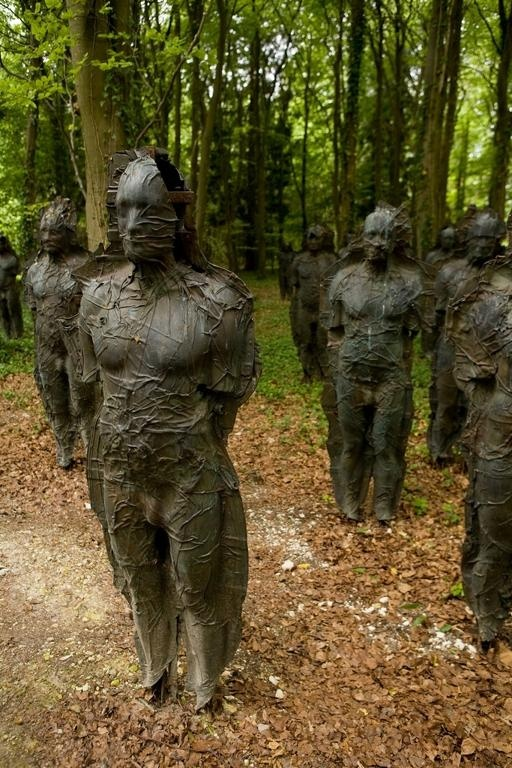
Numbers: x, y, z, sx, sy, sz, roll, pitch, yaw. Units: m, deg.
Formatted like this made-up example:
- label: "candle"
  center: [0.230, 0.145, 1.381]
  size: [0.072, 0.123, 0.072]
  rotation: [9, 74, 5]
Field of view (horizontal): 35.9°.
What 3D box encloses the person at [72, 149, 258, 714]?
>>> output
- label: "person"
  center: [-0.437, 0.277, 3.792]
  size: [0.852, 2.717, 0.581]
  rotation: [4, 17, 7]
